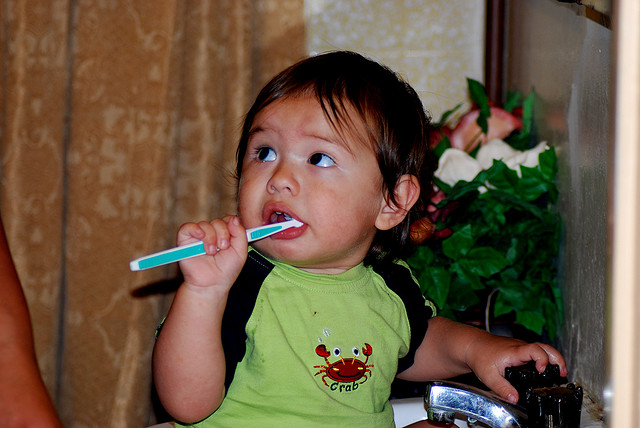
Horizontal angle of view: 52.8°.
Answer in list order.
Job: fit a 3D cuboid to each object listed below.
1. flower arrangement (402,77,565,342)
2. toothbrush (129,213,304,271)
[{"bbox_3d":[0.345,-0.021,1.377,0.344,0.583,0.243,-1,-8,-11],"label":"flower arrangement"},{"bbox_3d":[-0.209,0.062,1.087,0.025,0.016,0.284,16,17,32],"label":"toothbrush"}]
